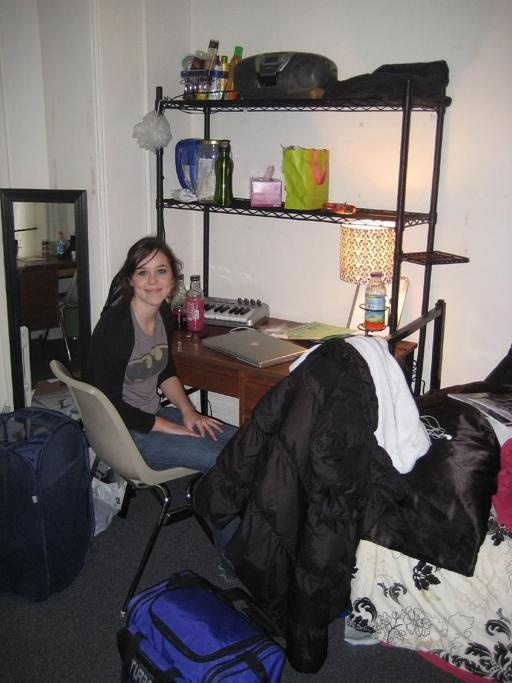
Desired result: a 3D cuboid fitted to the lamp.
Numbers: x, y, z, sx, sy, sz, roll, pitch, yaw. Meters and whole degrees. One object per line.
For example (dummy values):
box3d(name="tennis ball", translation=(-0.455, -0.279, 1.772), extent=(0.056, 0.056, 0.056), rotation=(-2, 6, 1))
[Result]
box3d(name="lamp", translation=(0.381, -0.354, 2.118), extent=(0.220, 0.247, 0.221), rotation=(-3, 17, -3))

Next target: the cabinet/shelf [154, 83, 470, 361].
box3d(name="cabinet/shelf", translation=(0.246, -0.485, 2.190), extent=(1.034, 0.970, 0.337), rotation=(13, 28, 29))

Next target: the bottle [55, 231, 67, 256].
box3d(name="bottle", translation=(-0.866, -0.435, 2.465), extent=(0.063, 0.089, 0.029), rotation=(9, 12, 26))

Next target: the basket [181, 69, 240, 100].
box3d(name="basket", translation=(-0.198, -1.034, 2.238), extent=(0.163, 0.094, 0.195), rotation=(-1, 28, -1))
